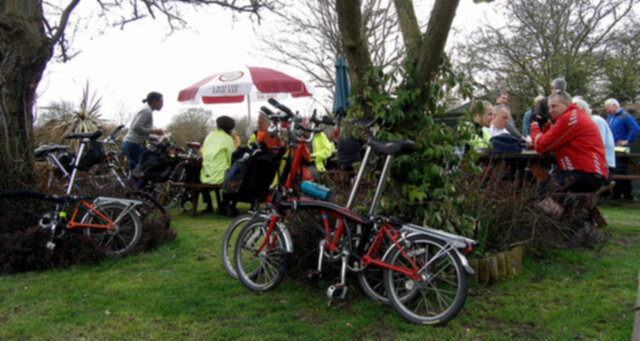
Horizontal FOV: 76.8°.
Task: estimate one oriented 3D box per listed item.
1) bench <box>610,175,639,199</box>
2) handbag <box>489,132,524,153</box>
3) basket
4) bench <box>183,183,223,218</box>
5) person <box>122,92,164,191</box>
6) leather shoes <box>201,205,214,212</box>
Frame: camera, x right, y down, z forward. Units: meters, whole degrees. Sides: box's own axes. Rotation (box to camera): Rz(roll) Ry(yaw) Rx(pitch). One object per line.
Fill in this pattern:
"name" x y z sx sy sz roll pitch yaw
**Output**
"bench" 9.527 0.520 12.625 0.751 0.721 0.581 0 -6 11
"handbag" 4.273 -0.619 9.205 0.669 0.350 0.876 1 0 11
"basket" -1.241 0.160 7.413 0.809 0.774 0.624 12 5 3
"bench" -3.083 0.979 10.805 0.816 0.725 1.472 0 1 -21
"person" -4.602 -0.572 10.551 1.254 2.929 1.044 -8 42 -35
"leather shoes" -3.256 1.078 11.616 0.281 0.182 0.177 5 1 26
